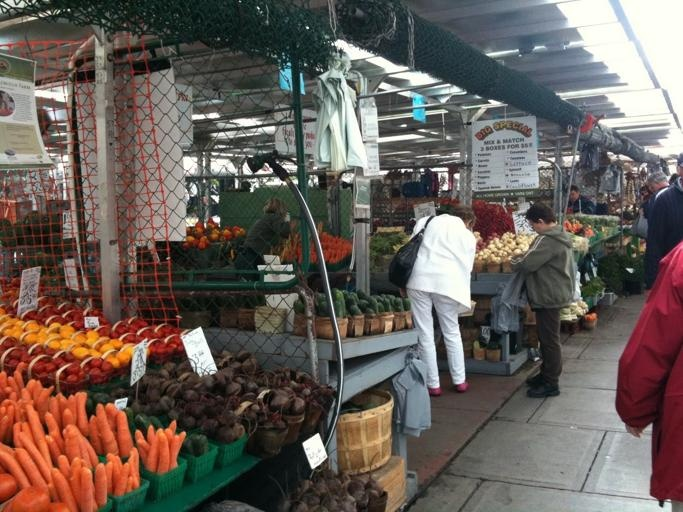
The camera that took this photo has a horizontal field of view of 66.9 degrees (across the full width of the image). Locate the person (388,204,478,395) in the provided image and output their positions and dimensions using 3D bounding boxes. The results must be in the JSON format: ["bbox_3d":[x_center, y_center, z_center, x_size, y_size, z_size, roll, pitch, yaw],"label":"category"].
[{"bbox_3d":[1.023,0.474,6.181,0.999,2.120,0.991,6,7,11],"label":"person"}]

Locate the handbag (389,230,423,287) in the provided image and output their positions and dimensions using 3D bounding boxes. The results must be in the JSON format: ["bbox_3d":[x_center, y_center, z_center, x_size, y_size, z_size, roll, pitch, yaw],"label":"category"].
[{"bbox_3d":[0.733,0.021,5.830,0.250,0.639,0.425,20,7,17],"label":"handbag"}]

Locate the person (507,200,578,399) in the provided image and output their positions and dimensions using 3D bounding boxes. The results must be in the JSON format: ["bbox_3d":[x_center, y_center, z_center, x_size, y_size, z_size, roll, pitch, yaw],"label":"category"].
[{"bbox_3d":[2.304,0.392,6.009,0.535,2.756,0.977,-2,3,-23],"label":"person"}]

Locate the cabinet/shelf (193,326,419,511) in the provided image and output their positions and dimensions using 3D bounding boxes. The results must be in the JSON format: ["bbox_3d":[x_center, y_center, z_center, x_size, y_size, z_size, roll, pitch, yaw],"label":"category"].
[{"bbox_3d":[-0.262,0.860,3.907,1.186,1.181,1.170,7,8,39],"label":"cabinet/shelf"}]
